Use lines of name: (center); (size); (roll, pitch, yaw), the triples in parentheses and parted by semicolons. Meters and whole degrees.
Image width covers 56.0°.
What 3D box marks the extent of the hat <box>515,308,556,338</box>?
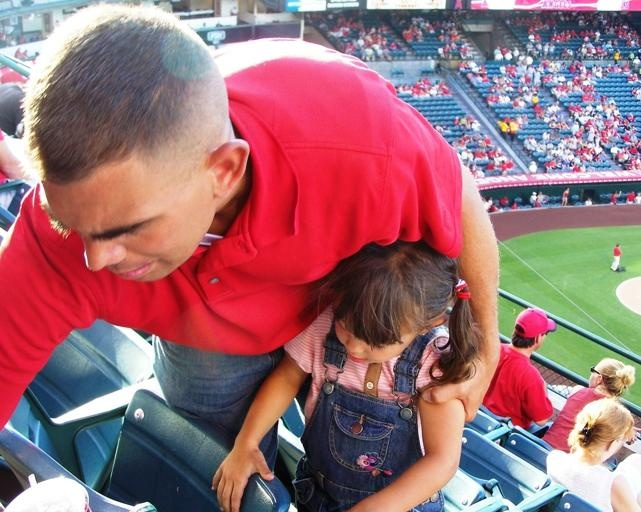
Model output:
hat: (1.427, 0.462, 4.058); (0.170, 0.166, 0.268); (16, 29, 41)
